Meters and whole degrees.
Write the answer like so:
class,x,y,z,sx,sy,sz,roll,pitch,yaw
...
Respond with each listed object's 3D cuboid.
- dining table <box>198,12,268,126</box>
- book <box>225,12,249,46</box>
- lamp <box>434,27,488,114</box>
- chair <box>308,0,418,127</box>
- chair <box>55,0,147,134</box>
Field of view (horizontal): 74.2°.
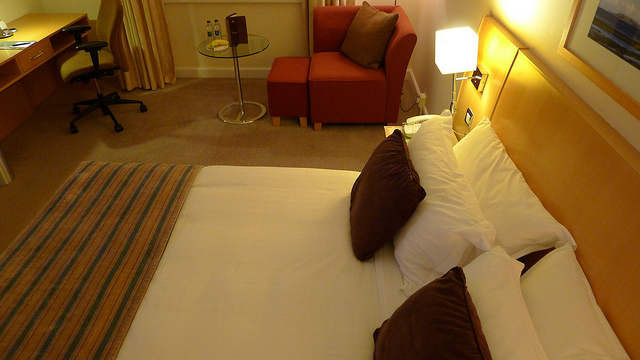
class,x,y,z,sx,sy,sz,roll,pitch,yaw
dining table,-1.087,-1.428,5.363,0.794,1.152,0.779,-28,57,-25
book,-0.923,-1.691,4.808,0.247,0.356,0.168,-16,41,-17
lamp,1.177,-0.895,3.660,0.365,0.744,0.460,0,39,2
chair,0.444,-1.368,4.981,1.146,1.201,0.999,-1,39,1
chair,-2.660,-1.409,5.147,0.898,1.370,0.935,-14,59,-30
